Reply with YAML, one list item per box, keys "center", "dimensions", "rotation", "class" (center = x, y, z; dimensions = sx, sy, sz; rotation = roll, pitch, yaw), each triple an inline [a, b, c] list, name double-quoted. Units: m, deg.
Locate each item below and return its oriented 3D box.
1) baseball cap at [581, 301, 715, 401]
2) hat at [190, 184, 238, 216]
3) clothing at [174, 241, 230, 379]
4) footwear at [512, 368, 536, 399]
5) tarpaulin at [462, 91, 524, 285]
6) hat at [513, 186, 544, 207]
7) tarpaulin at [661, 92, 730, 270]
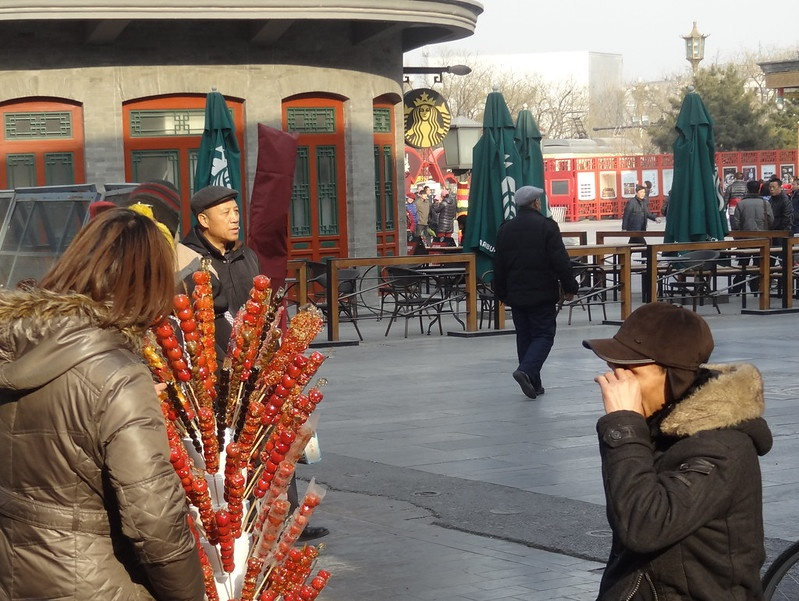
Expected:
- center: [0.877, 0.146, 4.157]
  dimensions: [0.426, 0.225, 0.348]
  rotation: [13, 12, -8]
  class: "baseball cap"
- center: [-1.116, -0.602, 6.740]
  dimensions: [0.224, 0.075, 0.193]
  rotation: [-4, 8, 29]
  class: "hat"
- center: [-1.076, -0.104, 6.189]
  dimensions: [0.151, 0.288, 0.400]
  rotation: [15, -19, -16]
  class: "clothing"
- center: [1.185, 0.786, 10.929]
  dimensions: [0.190, 0.284, 0.359]
  rotation: [0, 7, 20]
  class: "footwear"
- center: [1.422, -1.690, 16.241]
  dimensions: [0.955, 2.498, 1.021]
  rotation: [4, 26, 21]
  class: "tarpaulin"
- center: [1.344, -1.061, 11.759]
  dimensions: [0.253, 0.133, 0.331]
  rotation: [6, 29, 33]
  class: "hat"
- center: [4.454, -1.975, 17.529]
  dimensions: [0.932, 2.461, 0.974]
  rotation: [4, 9, 40]
  class: "tarpaulin"
